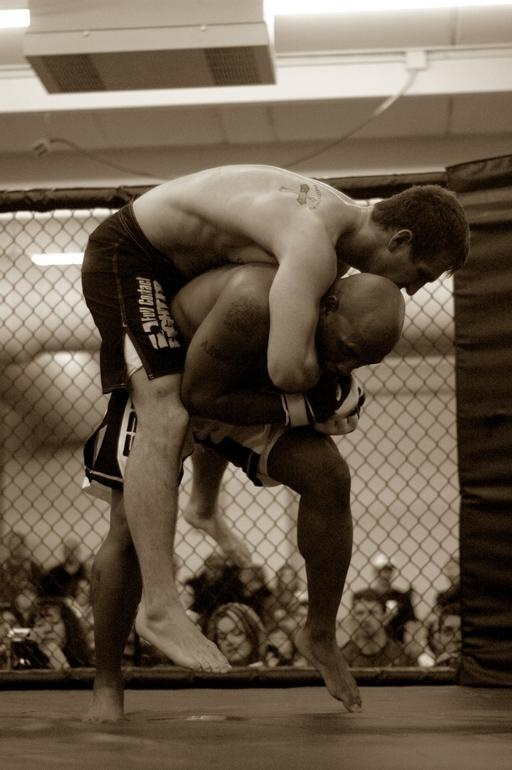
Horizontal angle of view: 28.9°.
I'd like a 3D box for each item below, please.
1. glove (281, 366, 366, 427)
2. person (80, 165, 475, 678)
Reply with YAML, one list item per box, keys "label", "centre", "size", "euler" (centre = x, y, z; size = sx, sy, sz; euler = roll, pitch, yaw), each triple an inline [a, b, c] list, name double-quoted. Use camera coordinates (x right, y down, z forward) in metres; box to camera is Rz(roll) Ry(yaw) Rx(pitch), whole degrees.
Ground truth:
- label: "glove"
  centre: [0.146, 0.032, 2.197]
  size: [0.190, 0.105, 0.062]
  euler: [-2, 72, -24]
- label: "person"
  centre: [-0.093, -0.031, 2.215]
  size: [0.679, 0.813, 1.095]
  euler: [17, 42, 38]
